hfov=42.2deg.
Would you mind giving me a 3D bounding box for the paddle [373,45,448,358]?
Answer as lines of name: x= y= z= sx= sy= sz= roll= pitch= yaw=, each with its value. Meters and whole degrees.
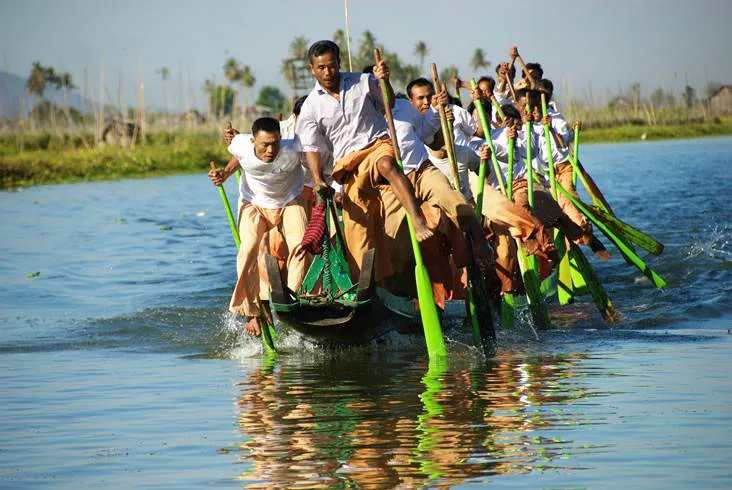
paddle: x=0.531 y=-0.341 z=11.686 sx=0.142 sy=3.985 sz=0.440 roll=-13 pitch=5 yaw=7
